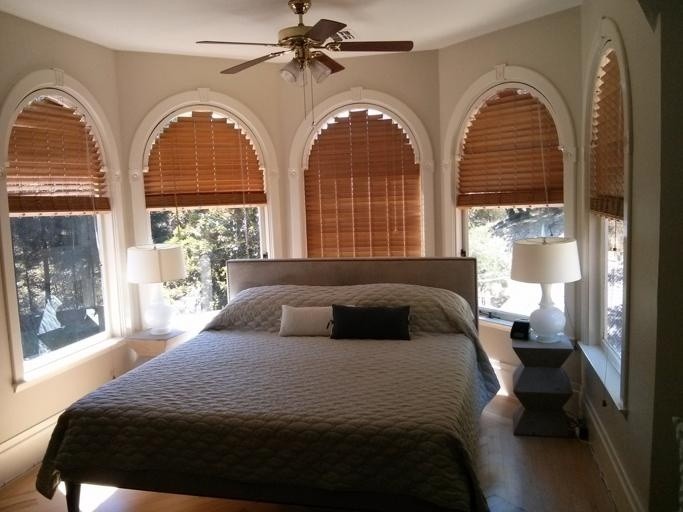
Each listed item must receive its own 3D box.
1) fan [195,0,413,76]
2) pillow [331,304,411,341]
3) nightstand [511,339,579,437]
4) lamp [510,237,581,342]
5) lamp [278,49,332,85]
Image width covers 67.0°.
[{"bbox_3d":[-0.327,-1.772,4.157,0.749,0.298,0.785,-8,12,-36],"label":"fan"},{"bbox_3d":[0.228,0.540,4.157,0.671,0.292,0.160,0,-3,7],"label":"pillow"},{"bbox_3d":[1.587,1.041,4.070,0.451,0.719,0.302,0,13,13],"label":"nightstand"},{"bbox_3d":[1.668,0.258,4.119,0.563,0.791,0.456,-15,17,-42],"label":"lamp"},{"bbox_3d":[-0.257,-1.283,3.571,0.245,0.157,0.238,4,7,41],"label":"lamp"}]
